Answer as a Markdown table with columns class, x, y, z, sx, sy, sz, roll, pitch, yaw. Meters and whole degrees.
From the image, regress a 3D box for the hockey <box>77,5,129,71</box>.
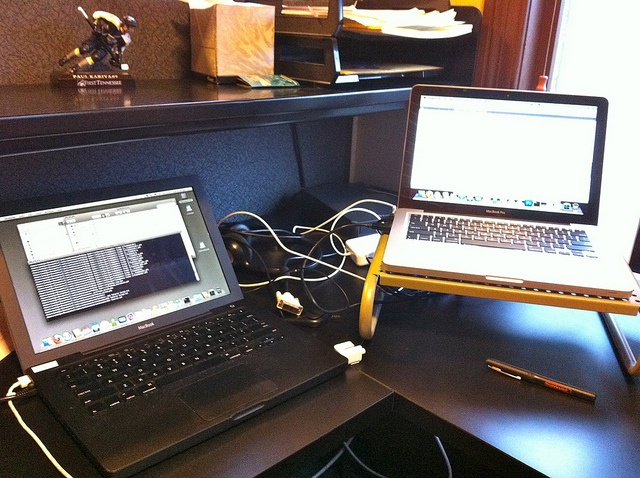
| class | x | y | z | sx | sy | sz | roll | pitch | yaw |
| --- | --- | --- | --- | --- | --- | --- | --- | --- | --- |
| hockey | -0.405 | -0.369 | 0.889 | 0.113 | 0.107 | 0.109 | -13 | 25 | -18 |

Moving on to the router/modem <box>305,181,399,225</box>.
| class | x | y | z | sx | sy | sz | roll | pitch | yaw |
| --- | --- | --- | --- | --- | --- | --- | --- | --- | --- |
| router/modem | 0.077 | -0.106 | 1.289 | 0.169 | 0.035 | 0.149 | -11 | 28 | -27 |
